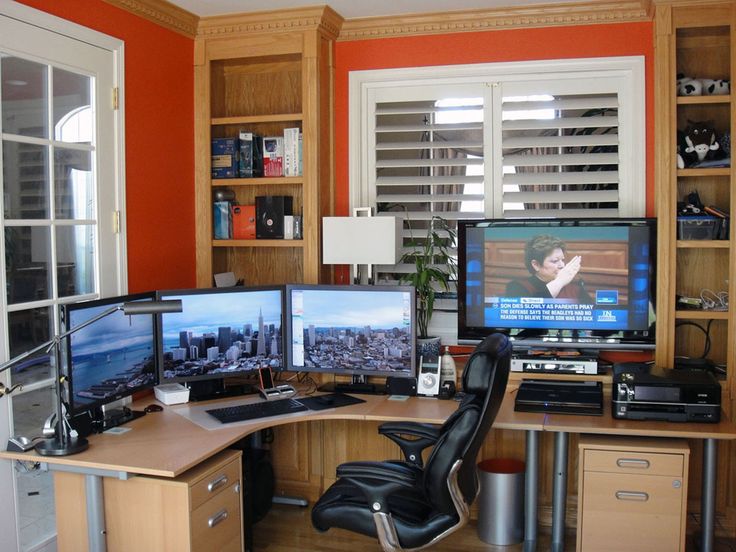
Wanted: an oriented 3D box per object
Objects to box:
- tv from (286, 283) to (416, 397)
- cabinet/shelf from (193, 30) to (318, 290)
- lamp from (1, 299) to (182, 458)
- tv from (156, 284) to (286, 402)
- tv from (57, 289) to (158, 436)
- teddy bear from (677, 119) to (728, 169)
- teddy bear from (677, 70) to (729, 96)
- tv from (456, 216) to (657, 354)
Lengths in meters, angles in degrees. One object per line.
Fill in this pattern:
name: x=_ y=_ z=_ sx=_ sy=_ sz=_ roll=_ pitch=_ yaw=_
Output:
tv: x=-0.088 y=0.365 z=3.843 sx=0.769 sy=0.477 sz=0.230 roll=0 pitch=1 yaw=7
cabinet/shelf: x=-0.690 y=-0.762 z=4.349 sx=0.905 sy=1.653 sz=0.310 roll=0 pitch=4 yaw=13
lamp: x=-1.365 y=0.457 z=3.100 sx=0.708 sy=0.699 sz=0.765 roll=-3 pitch=4 yaw=-31
tv: x=-0.851 y=0.387 z=3.714 sx=0.766 sy=0.549 sz=0.248 roll=-1 pitch=1 yaw=-35
tv: x=-1.304 y=0.438 z=3.239 sx=0.235 sy=0.705 sz=0.750 roll=1 pitch=4 yaw=21
teddy bear: x=1.940 y=-0.762 z=3.763 sx=0.320 sy=0.174 sz=0.298 roll=0 pitch=11 yaw=12
teddy bear: x=1.952 y=-1.125 z=3.777 sx=0.277 sy=0.169 sz=0.177 roll=1 pitch=4 yaw=25
tv: x=1.195 y=0.048 z=3.916 sx=0.998 sy=0.566 sz=0.036 roll=1 pitch=-1 yaw=7
